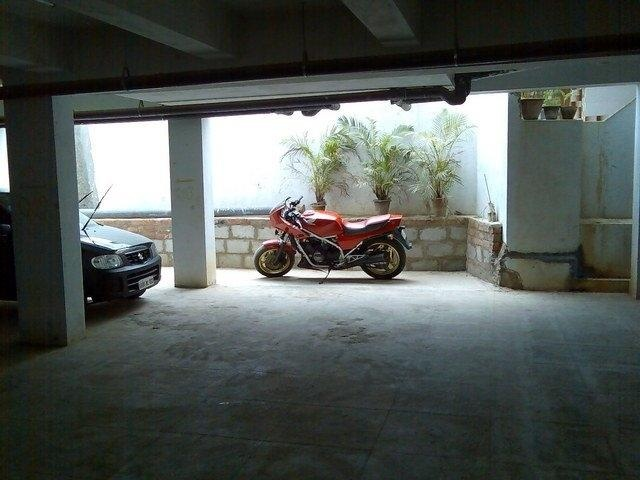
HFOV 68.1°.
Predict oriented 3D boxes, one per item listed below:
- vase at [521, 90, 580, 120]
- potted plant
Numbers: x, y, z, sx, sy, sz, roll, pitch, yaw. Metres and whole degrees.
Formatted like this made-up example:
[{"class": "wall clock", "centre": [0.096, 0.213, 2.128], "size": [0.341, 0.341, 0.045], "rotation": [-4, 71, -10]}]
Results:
[{"class": "vase", "centre": [3.583, -2.144, 7.457], "size": [0.892, 0.334, 0.673], "rotation": [1, 9, 18]}, {"class": "potted plant", "centre": [1.394, -1.630, 9.775], "size": [3.473, 2.063, 0.868], "rotation": [1, 11, 15]}]
